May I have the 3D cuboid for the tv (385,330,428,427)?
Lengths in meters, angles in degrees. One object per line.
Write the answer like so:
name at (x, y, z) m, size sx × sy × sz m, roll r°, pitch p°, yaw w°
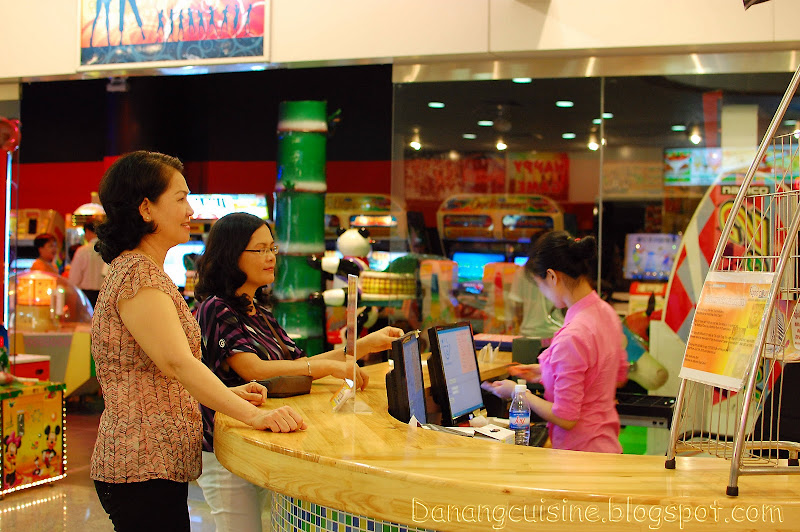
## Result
tv at (0.029, 0.546, 3.469) m, size 0.140 × 0.439 × 0.438 m, roll -4°, pitch -4°, yaw 11°

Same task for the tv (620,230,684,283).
tv at (1.746, -0.085, 5.025) m, size 0.357 × 0.266 × 0.037 m, roll 0°, pitch 1°, yaw 1°

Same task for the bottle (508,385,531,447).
bottle at (0.593, 0.754, 3.573) m, size 0.107 × 0.307 × 0.358 m, roll 4°, pitch 13°, yaw 11°

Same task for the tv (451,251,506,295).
tv at (0.567, 0.040, 5.117) m, size 0.295 × 0.351 × 0.123 m, roll 0°, pitch 5°, yaw 2°
